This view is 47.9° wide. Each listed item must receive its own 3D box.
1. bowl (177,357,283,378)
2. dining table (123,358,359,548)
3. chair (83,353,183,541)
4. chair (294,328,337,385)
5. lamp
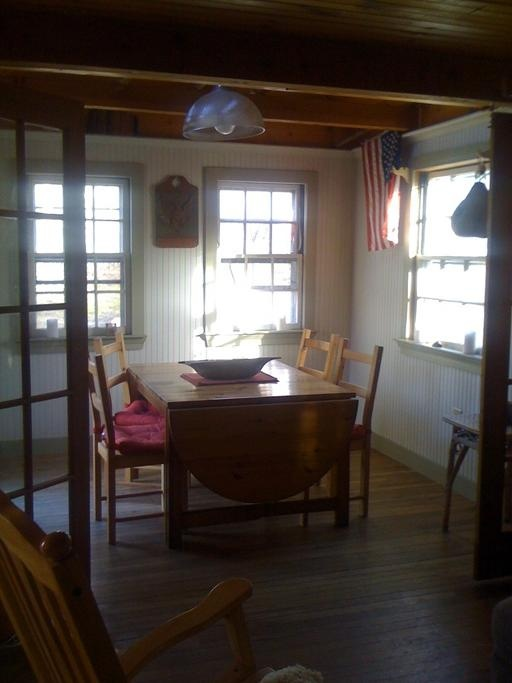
[{"bbox_3d":[-0.178,0.138,3.584,0.474,0.126,0.213,-2,-2,-11],"label":"bowl"},{"bbox_3d":[-0.088,0.492,3.912,1.080,0.906,1.684,-2,17,-9],"label":"dining table"},{"bbox_3d":[-0.698,0.595,3.485,0.629,0.996,0.724,1,3,-9],"label":"chair"},{"bbox_3d":[0.453,0.118,4.530,0.274,0.537,0.272,-3,14,-39],"label":"chair"},{"bbox_3d":[-0.147,-1.177,2.896,0.367,0.272,0.392,-2,8,-5],"label":"lamp"}]
